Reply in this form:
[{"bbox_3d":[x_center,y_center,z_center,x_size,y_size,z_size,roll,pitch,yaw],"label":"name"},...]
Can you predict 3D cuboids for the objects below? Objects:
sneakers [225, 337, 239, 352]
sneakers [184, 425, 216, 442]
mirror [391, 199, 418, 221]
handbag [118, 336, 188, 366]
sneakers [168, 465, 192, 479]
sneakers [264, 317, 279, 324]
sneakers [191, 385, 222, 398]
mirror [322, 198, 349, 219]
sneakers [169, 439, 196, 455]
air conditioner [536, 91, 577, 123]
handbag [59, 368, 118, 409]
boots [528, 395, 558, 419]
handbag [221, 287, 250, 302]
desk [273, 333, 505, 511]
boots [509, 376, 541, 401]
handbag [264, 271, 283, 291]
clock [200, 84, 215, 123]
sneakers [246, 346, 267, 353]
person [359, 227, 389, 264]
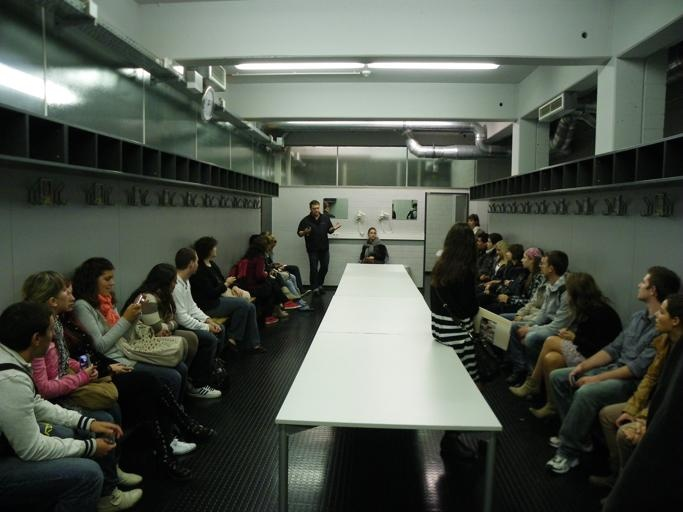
[{"bbox_3d":[-1.268,1.011,6.014,0.163,0.220,0.537,2,-7,-11],"label":"sneakers"},{"bbox_3d":[-1.116,1.385,4.142,0.225,0.131,0.059,0,5,-20],"label":"sneakers"},{"bbox_3d":[1.317,-0.969,10.898,0.423,0.336,0.059,0,0,2],"label":"mirror"},{"bbox_3d":[-1.470,0.737,4.133,0.312,0.134,0.263,0,0,-6],"label":"handbag"},{"bbox_3d":[-1.139,1.528,3.696,0.175,0.074,0.067,-2,-1,18],"label":"sneakers"},{"bbox_3d":[-0.996,0.919,7.452,0.178,0.084,0.072,-1,1,-20],"label":"sneakers"},{"bbox_3d":[-1.264,1.264,4.909,0.290,0.124,0.110,2,-5,-7],"label":"sneakers"},{"bbox_3d":[-0.134,-1.000,10.912,0.443,0.417,0.149,1,1,0],"label":"mirror"},{"bbox_3d":[-1.208,1.445,3.983,0.166,0.072,0.090,1,0,-5],"label":"sneakers"},{"bbox_3d":[2.793,-1.940,6.792,0.231,0.240,0.673,1,4,-4],"label":"air conditioner"},{"bbox_3d":[-1.670,0.899,3.532,0.243,0.105,0.252,3,4,-9],"label":"handbag"},{"bbox_3d":[1.760,1.339,4.609,0.237,0.199,0.103,4,-3,22],"label":"boots"},{"bbox_3d":[-1.322,0.473,6.650,0.229,0.100,0.241,8,-1,28],"label":"handbag"},{"bbox_3d":[0.227,1.102,3.429,1.256,0.751,1.069,2,4,-4],"label":"desk"},{"bbox_3d":[1.710,1.241,4.910,0.283,0.234,0.132,0,8,10],"label":"boots"},{"bbox_3d":[-0.938,0.355,7.394,0.080,0.241,0.175,-16,-5,44],"label":"handbag"},{"bbox_3d":[-1.676,-1.902,6.594,0.153,0.449,0.716,1,5,-13],"label":"clock"},{"bbox_3d":[-0.979,1.076,6.085,0.229,0.103,0.085,0,2,1],"label":"sneakers"},{"bbox_3d":[0.612,-0.178,10.404,0.606,0.806,0.584,-2,2,-6],"label":"person"}]
